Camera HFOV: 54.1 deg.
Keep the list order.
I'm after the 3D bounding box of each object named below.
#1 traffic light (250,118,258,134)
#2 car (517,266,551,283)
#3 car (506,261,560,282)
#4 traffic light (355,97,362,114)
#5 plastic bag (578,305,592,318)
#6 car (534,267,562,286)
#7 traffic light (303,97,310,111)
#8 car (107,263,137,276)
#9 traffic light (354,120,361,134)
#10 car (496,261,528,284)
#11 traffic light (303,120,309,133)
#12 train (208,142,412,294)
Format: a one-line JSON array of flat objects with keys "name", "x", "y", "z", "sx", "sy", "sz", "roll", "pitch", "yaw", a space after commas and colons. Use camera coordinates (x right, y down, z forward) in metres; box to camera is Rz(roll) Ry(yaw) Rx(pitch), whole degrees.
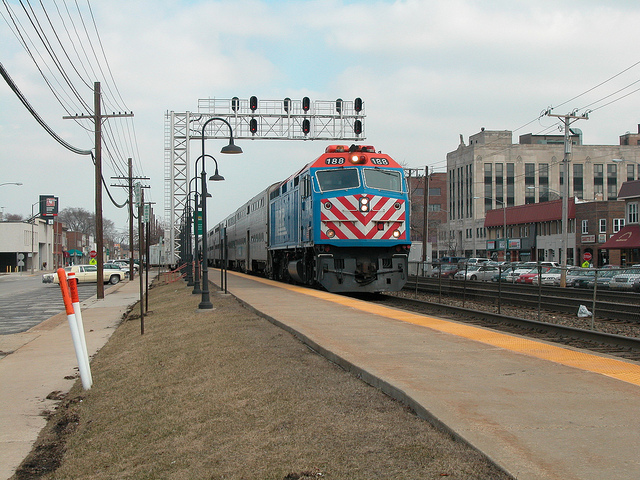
[{"name": "traffic light", "x": -3.763, "y": -6.563, "z": 35.756, "sx": 0.378, "sy": 0.559, "sz": 0.519, "roll": -7, "pitch": 4, "yaw": -13}, {"name": "car", "x": 8.812, "y": 1.378, "z": 25.818, "sx": 1.072, "sy": 0.823, "sz": 2.358, "roll": -6, "pitch": -8, "yaw": 38}, {"name": "car", "x": 8.976, "y": 1.330, "z": 26.359, "sx": 2.993, "sy": 1.071, "sz": 1.290, "roll": 0, "pitch": -1, "yaw": -11}, {"name": "traffic light", "x": 2.272, "y": -7.892, "z": 36.967, "sx": 0.337, "sy": 0.920, "sz": 1.317, "roll": -6, "pitch": 4, "yaw": 6}, {"name": "plastic bag", "x": 7.921, "y": 2.091, "z": 18.560, "sx": 0.402, "sy": 0.422, "sz": 0.261, "roll": -3, "pitch": 2, "yaw": 2}, {"name": "car", "x": 8.988, "y": 1.387, "z": 24.541, "sx": 1.071, "sy": 0.823, "sz": 2.406, "roll": -3, "pitch": -8, "yaw": 21}, {"name": "traffic light", "x": -0.846, "y": -8.239, "z": 37.808, "sx": 0.300, "sy": 0.721, "sz": 0.420, "roll": -4, "pitch": 4, "yaw": 27}, {"name": "car", "x": -17.272, "y": 2.436, "z": 54.615, "sx": 2.978, "sy": 1.175, "sz": 1.408, "roll": -3, "pitch": 1, "yaw": -3}, {"name": "traffic light", "x": 2.269, "y": -6.694, "z": 36.703, "sx": 0.411, "sy": 0.795, "sz": 0.286, "roll": -3, "pitch": 5, "yaw": 38}, {"name": "car", "x": 7.530, "y": 1.256, "z": 24.445, "sx": 1.111, "sy": 0.948, "sz": 2.698, "roll": -3, "pitch": -4, "yaw": 9}, {"name": "traffic light", "x": -0.788, "y": -6.808, "z": 37.268, "sx": 0.434, "sy": 0.762, "sz": 0.314, "roll": -7, "pitch": 4, "yaw": -11}, {"name": "train", "x": -0.627, "y": -0.520, "z": 34.036, "sx": 4.109, "sy": 6.332, "sz": 25.809, "roll": 1, "pitch": -1, "yaw": -14}]
